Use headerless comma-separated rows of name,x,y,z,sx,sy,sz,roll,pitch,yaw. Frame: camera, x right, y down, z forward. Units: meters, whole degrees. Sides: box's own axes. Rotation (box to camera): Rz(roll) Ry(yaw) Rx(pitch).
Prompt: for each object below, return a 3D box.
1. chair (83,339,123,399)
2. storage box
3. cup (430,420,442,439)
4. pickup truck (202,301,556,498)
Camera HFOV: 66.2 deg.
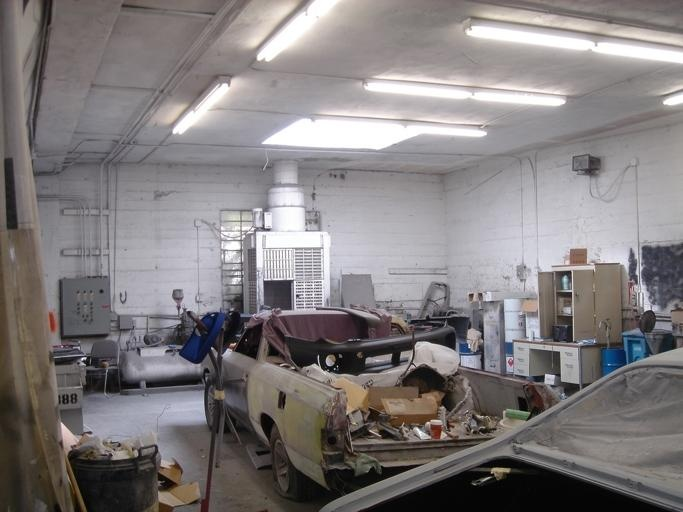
chair,-4.403,2.011,9.686,0.599,0.890,1.027,-2,-2,-26
storage box,0.452,1.280,4.590,0.785,0.245,0.441,0,1,-14
cup,0.743,1.401,4.204,0.114,0.095,0.106,0,-5,0
pickup truck,0.070,1.274,4.646,1.487,0.955,2.824,-1,2,-28
